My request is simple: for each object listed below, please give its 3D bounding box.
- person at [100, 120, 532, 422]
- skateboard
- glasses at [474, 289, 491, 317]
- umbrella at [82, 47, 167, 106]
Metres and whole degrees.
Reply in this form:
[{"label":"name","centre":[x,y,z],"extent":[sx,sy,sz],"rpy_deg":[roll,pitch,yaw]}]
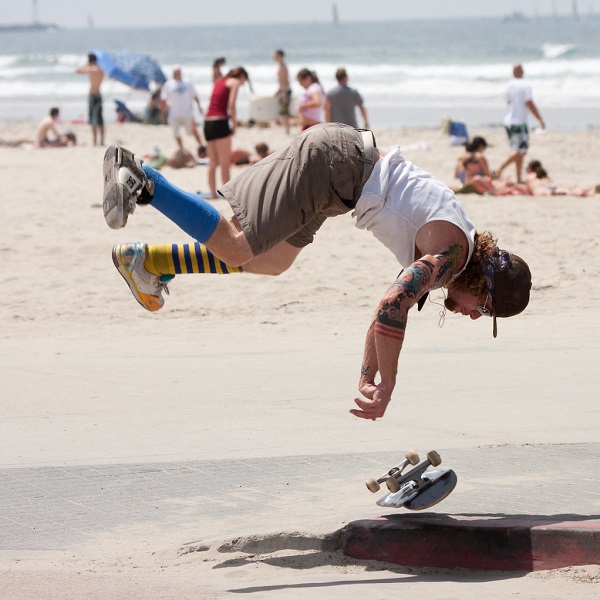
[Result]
[{"label":"person","centre":[0.041,-0.184,6.236],"extent":[2.038,1.355,0.775],"rpy_deg":[3,10,20]},{"label":"skateboard","centre":[0.523,0.879,6.168],"extent":[0.352,0.155,0.449],"rpy_deg":[-34,14,-37]},{"label":"glasses","centre":[0.917,0.018,6.260],"extent":[0.063,0.101,0.080],"rpy_deg":[21,26,23]},{"label":"umbrella","centre":[-1.861,-2.415,13.211],"extent":[0.725,0.408,1.033],"rpy_deg":[0,9,2]}]
